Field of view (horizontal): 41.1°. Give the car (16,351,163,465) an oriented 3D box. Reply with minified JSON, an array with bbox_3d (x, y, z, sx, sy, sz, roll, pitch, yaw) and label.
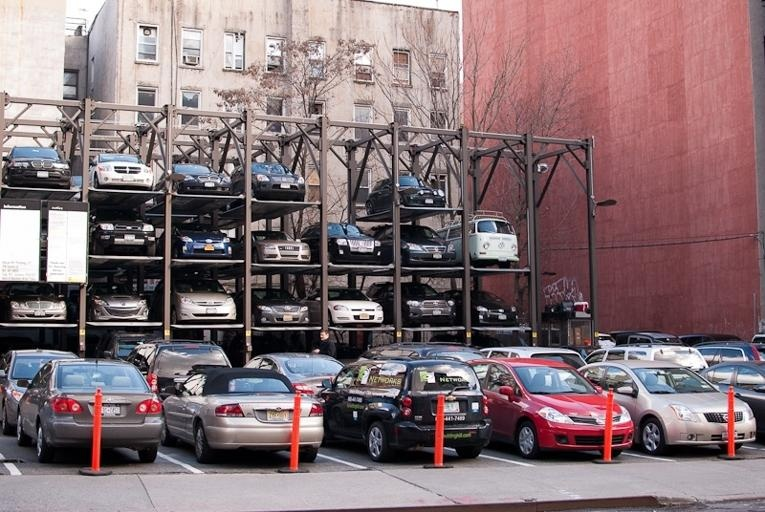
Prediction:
[{"bbox_3d":[-7.217,3.731,24.642,3.814,2.433,1.906,1,-2,27],"label":"car"}]

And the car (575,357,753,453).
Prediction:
[{"bbox_3d":[7.294,4.020,28.031,2.302,1.596,4.106,5,-8,-30],"label":"car"}]

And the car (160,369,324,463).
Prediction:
[{"bbox_3d":[-3.804,3.898,25.091,3.665,2.291,1.447,1,-2,31],"label":"car"}]
